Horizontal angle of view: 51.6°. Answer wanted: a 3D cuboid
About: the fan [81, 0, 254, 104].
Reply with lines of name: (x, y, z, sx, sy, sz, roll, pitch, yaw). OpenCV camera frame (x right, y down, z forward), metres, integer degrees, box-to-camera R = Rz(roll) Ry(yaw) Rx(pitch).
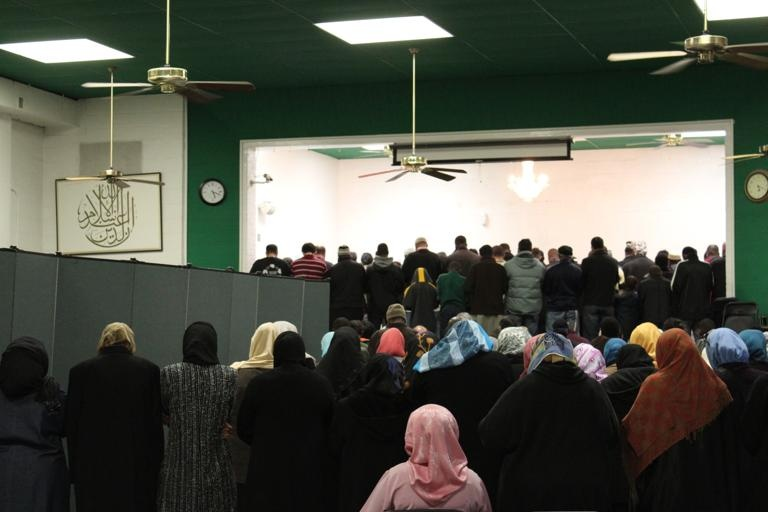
fan: (-3.182, -3.076, 11.746, 1.201, 1.197, 1.264, 2, -22, -7)

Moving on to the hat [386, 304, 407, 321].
hat: (0.153, 0.621, 8.696, 0.217, 0.194, 0.167, 0, -4, -11)

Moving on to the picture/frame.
picture/frame: (-5.185, -0.781, 14.919, 2.178, 1.457, 0.063, -2, -3, 13)

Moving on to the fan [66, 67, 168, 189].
fan: (-4.339, -2.131, 13.048, 1.452, 1.803, 1.251, 0, 3, 26)

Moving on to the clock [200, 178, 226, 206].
clock: (-3.091, -1.162, 14.587, 0.489, 0.470, 0.480, 0, -2, -2)

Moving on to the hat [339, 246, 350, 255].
hat: (-0.616, -0.106, 12.404, 0.192, 0.177, 0.185, 1, -10, -6)
